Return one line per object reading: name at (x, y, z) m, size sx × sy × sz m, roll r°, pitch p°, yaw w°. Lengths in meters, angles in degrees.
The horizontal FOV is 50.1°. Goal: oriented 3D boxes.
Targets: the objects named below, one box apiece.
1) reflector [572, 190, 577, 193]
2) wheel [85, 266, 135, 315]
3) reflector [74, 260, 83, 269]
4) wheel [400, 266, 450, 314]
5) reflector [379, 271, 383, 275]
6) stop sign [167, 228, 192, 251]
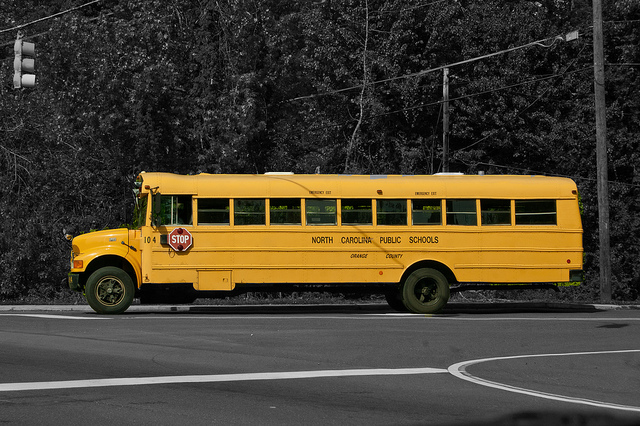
reflector at (7.676, -0.660, 20.619) m, size 0.090 × 0.087 × 0.051 m, roll -1°, pitch 3°, yaw -1°
wheel at (-5.970, 2.183, 19.705) m, size 1.358 × 1.459 × 0.516 m, roll 6°, pitch 10°, yaw 1°
reflector at (-6.855, 1.428, 19.378) m, size 0.239 × 0.220 × 0.045 m, roll 0°, pitch 0°, yaw -3°
wheel at (3.088, 2.196, 20.153) m, size 1.279 × 1.377 × 0.476 m, roll 1°, pitch 5°, yaw -7°
reflector at (1.776, 1.732, 19.981) m, size 0.093 × 0.100 × 0.025 m, roll -4°, pitch 1°, yaw -2°
stop sign at (-4.035, 0.752, 19.505) m, size 0.576 × 0.578 × 0.109 m, roll -2°, pitch -9°, yaw -2°
